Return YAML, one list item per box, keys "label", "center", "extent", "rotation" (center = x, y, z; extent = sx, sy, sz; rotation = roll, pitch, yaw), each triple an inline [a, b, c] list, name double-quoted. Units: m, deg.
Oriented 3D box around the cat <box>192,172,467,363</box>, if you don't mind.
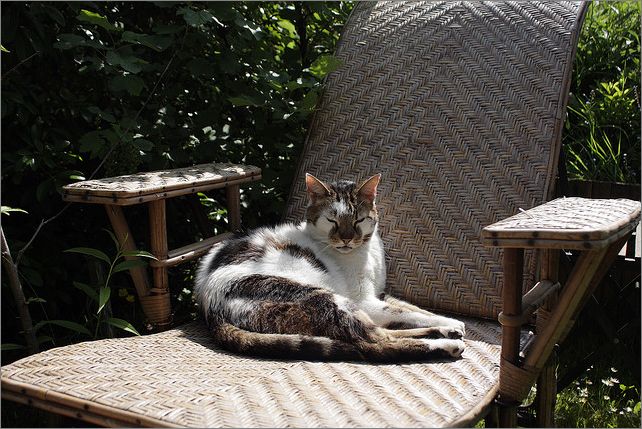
- label: "cat"
  center: [0.016, 0.235, 2.275]
  extent: [0.930, 0.534, 0.791]
  rotation: [-2, -4, -5]
